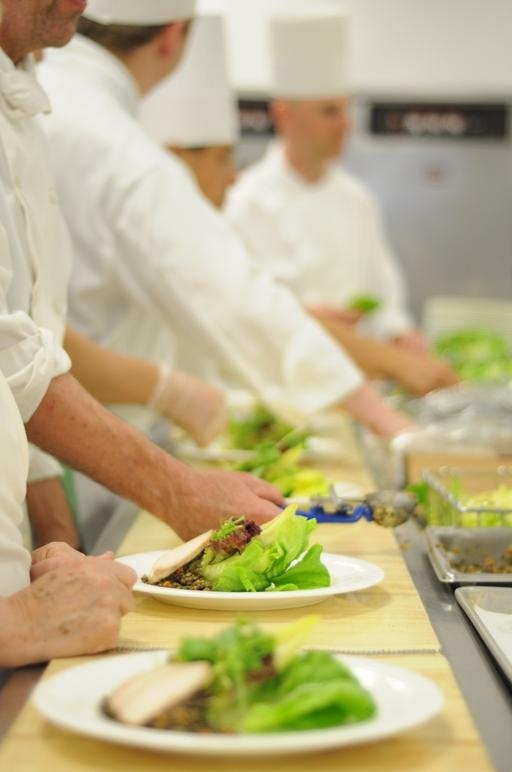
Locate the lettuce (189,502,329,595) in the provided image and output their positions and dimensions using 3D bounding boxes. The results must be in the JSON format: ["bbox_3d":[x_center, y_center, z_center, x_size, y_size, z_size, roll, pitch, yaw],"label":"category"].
[{"bbox_3d":[0.004,0.143,0.680,0.101,0.040,0.087,-7,-5,0],"label":"lettuce"}]

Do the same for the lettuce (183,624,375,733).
[{"bbox_3d":[-0.008,0.136,0.368,0.079,0.024,0.056,1,-3,-19],"label":"lettuce"}]

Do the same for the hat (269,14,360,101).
[{"bbox_3d":[0.035,-0.219,0.504,0.063,0.052,0.058,1,3,-1],"label":"hat"}]
